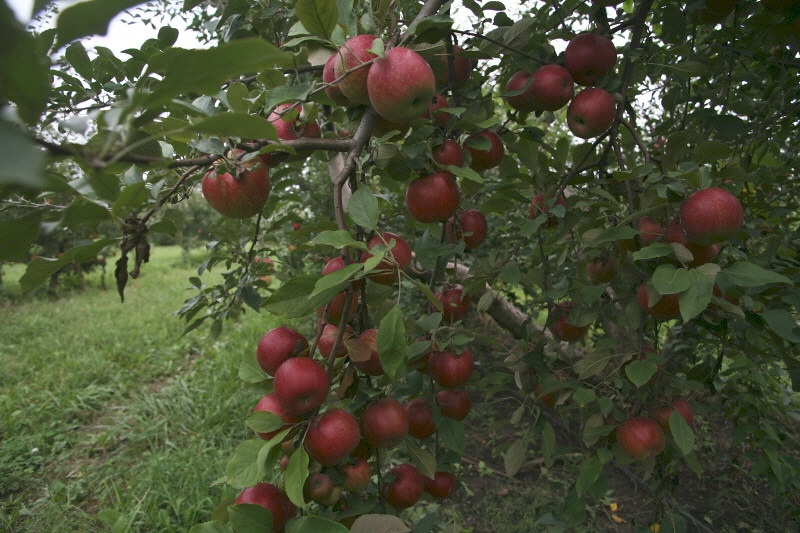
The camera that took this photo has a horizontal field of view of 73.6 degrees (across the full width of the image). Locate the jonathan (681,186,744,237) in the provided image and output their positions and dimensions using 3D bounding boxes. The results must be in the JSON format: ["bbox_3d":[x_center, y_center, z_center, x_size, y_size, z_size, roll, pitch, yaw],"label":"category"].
[{"bbox_3d":[1.092,-0.185,1.881,0.188,0.167,0.185,-3,4,23],"label":"jonathan"}]
